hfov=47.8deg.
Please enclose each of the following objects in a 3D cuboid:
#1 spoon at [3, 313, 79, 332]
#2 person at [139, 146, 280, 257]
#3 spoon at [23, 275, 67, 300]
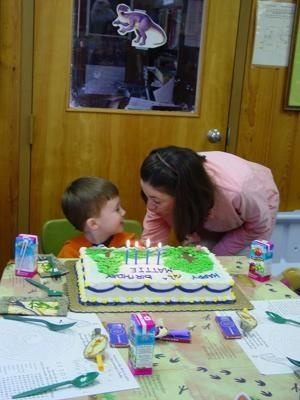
[{"bbox_3d":[-0.277,0.305,0.842,0.148,0.021,0.025,0,19,21],"label":"spoon"},{"bbox_3d":[0.277,0.028,1.545,0.441,0.515,0.789,9,7,34],"label":"person"},{"bbox_3d":[-0.326,0.259,1.064,0.145,0.048,0.020,21,52,21],"label":"spoon"}]
